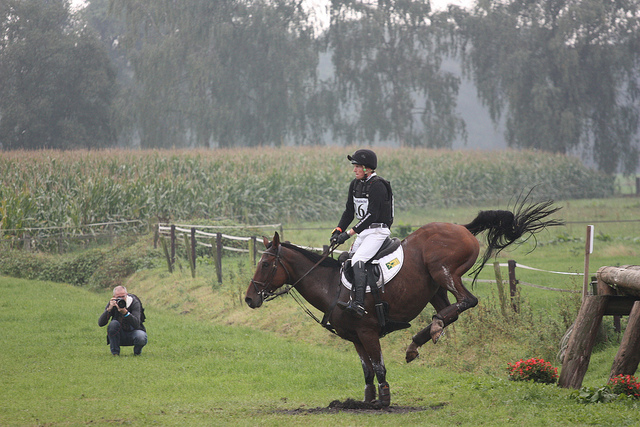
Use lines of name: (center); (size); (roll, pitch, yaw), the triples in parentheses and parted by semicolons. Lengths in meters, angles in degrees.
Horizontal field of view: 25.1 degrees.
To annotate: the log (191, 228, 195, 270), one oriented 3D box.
log: (-8.711, 2.349, 98.819); (0.219, 2.540, 0.554); (-1, 0, -7)
